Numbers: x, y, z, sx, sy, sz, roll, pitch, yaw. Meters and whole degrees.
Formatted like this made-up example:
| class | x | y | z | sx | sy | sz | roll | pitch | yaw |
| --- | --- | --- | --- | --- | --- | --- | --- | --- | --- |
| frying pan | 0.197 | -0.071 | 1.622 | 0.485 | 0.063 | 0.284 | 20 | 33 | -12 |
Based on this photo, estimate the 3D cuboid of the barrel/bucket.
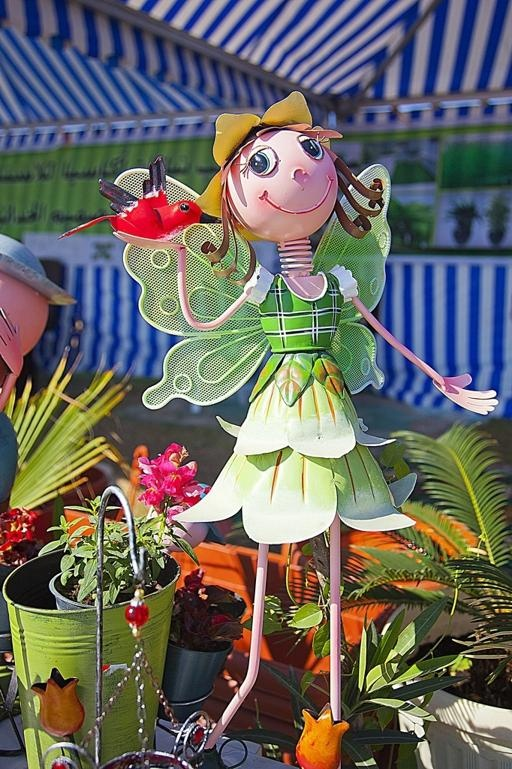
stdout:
| class | x | y | z | sx | sy | sz | roll | pitch | yaw |
| --- | --- | --- | --- | --- | --- | --- | --- | --- | --- |
| barrel/bucket | -0.371 | 0.591 | 1.517 | 0.344 | 0.437 | 0.335 | 7 | -5 | 1 |

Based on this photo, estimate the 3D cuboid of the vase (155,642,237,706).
| class | x | y | z | sx | sy | sz | roll | pitch | yaw |
| --- | --- | --- | --- | --- | --- | --- | --- | --- | --- |
| vase | -0.136 | 0.676 | 1.772 | 0.163 | 0.118 | 0.182 | 11 | 2 | 43 |
